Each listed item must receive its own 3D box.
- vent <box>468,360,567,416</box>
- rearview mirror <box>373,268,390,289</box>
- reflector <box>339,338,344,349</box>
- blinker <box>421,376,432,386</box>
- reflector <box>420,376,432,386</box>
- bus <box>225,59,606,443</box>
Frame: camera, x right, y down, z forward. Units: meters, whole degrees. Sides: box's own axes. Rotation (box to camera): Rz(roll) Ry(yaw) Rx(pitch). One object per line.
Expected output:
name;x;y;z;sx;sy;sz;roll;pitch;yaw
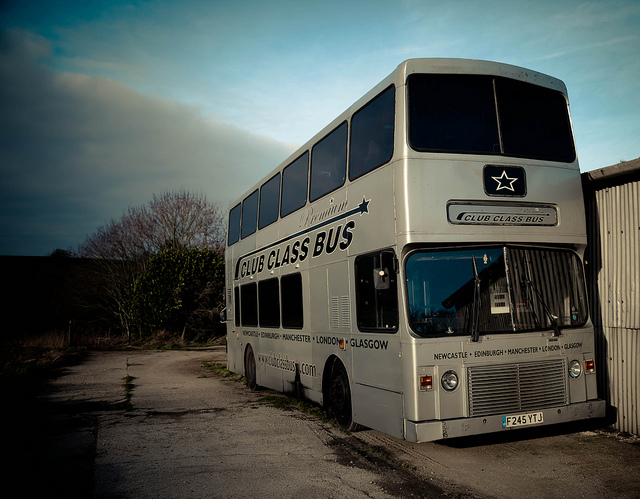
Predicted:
vent;2.874;1.985;7.120;1.443;0.720;0.066;-5;-2;-4
rearview mirror;0.929;0.435;7.374;0.136;0.315;0.359;2;-6;-29
reflector;0.387;1.685;8.832;0.034;0.139;0.127;3;-1;-25
blinker;1.481;1.832;6.859;0.115;0.112;0.038;3;-9;-5
reflector;1.485;1.828;6.860;0.124;0.130;0.034;-1;-4;-3
bus;0.752;0.699;12.658;3.419;6.161;11.743;2;-8;-21
